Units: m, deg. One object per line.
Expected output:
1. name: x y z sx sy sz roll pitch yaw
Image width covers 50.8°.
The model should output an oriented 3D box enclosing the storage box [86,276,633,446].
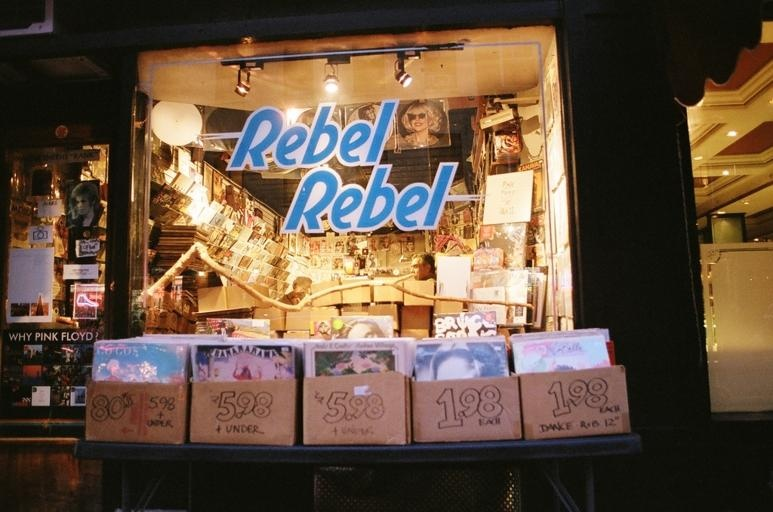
1. storage box: -0.195 0.845 5.201 3.396 0.694 0.215 -1 -4 2
